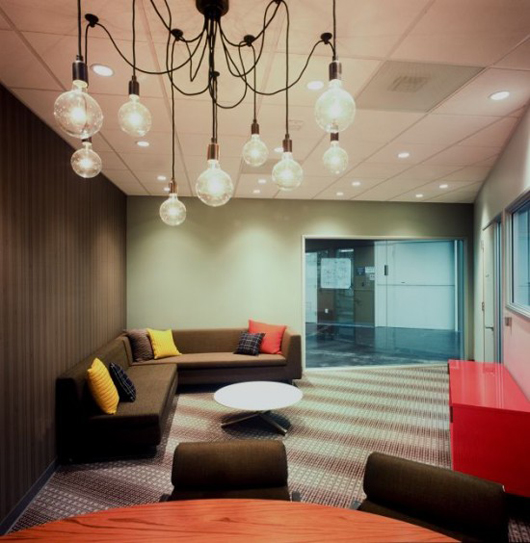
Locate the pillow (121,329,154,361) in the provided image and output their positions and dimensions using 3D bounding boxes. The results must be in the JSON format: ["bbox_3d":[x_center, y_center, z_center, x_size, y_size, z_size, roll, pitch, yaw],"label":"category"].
[{"bbox_3d":[-1.562,0.912,5.373,0.162,0.278,0.354,-3,0,19],"label":"pillow"}]

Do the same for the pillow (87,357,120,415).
[{"bbox_3d":[-1.411,0.969,3.825,0.196,0.381,0.506,-12,4,-15],"label":"pillow"}]

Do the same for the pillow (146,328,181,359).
[{"bbox_3d":[-1.283,0.890,5.554,0.114,0.350,0.372,-31,-19,27],"label":"pillow"}]

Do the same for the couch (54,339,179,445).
[{"bbox_3d":[-1.285,1.081,4.334,0.806,0.626,1.516,1,6,-3],"label":"couch"}]

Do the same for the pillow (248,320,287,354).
[{"bbox_3d":[0.007,0.881,5.797,0.328,0.287,0.172,7,-38,26],"label":"pillow"}]
